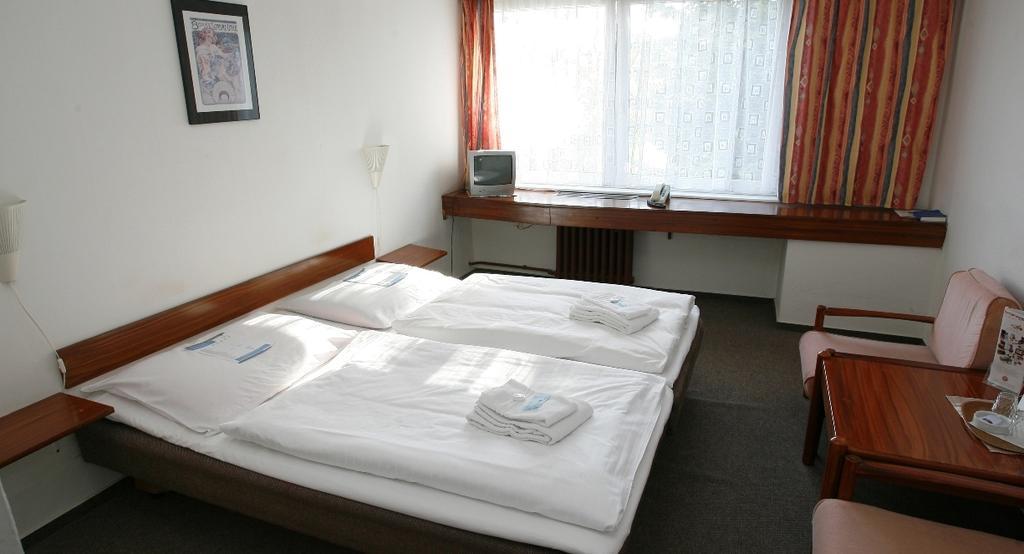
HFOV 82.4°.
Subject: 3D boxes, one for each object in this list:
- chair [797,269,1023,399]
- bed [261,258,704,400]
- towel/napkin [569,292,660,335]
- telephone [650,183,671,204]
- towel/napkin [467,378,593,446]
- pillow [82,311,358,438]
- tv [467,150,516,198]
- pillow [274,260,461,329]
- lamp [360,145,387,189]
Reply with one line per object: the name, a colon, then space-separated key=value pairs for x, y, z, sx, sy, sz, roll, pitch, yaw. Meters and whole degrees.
chair: x=3.029 y=0.377 z=4.562 sx=1.428 sy=1.099 sz=0.986 roll=6 pitch=32 yaw=27
bed: x=-0.150 y=0.298 z=4.902 sx=2.931 sy=0.617 sz=1.269 roll=6 pitch=29 yaw=12
towel/napkin: x=0.810 y=0.292 z=4.711 sx=0.423 sy=0.126 sz=0.435 roll=12 pitch=16 yaw=37
telephone: x=1.556 y=-0.846 z=6.113 sx=0.169 sy=0.108 sz=0.307 roll=11 pitch=37 yaw=27
towel/napkin: x=0.098 y=0.882 z=3.803 sx=0.484 sy=0.150 sz=0.478 roll=12 pitch=14 yaw=22
pillow: x=-1.984 y=0.641 z=4.235 sx=0.887 sy=0.176 sz=1.147 roll=15 pitch=26 yaw=25
tv: x=-0.237 y=-1.138 z=6.448 sx=0.574 sy=0.424 sz=0.519 roll=-1 pitch=17 yaw=-3
pillow: x=-1.250 y=0.163 z=5.059 sx=0.827 sy=0.189 sz=0.781 roll=7 pitch=21 yaw=25
lamp: x=-1.295 y=-1.062 z=5.695 sx=0.186 sy=0.422 sz=0.272 roll=5 pitch=21 yaw=14
